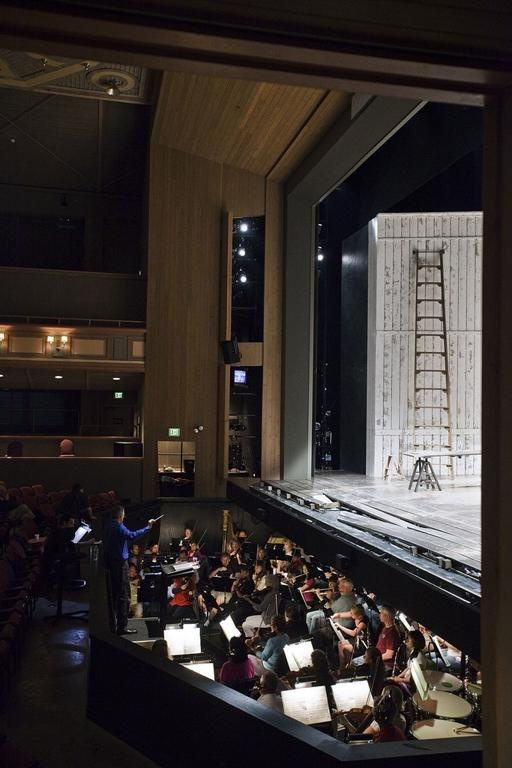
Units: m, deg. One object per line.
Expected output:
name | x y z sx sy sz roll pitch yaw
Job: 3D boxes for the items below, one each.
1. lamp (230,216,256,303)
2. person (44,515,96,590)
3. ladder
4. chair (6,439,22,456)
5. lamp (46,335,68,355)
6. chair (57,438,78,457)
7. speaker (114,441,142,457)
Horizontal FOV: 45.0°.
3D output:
lamp | -0.201 -2.062 10.420 0.418 1.102 0.111 4 -2 -4
person | -1.979 1.763 6.521 0.471 0.774 0.325 2 -9 -40
ladder | 2.642 -0.440 9.269 0.753 3.565 1.294 3 -2 15
chair | -4.048 1.055 10.417 0.224 0.356 0.241 3 3 -23
lamp | -3.283 -0.663 10.184 0.247 0.285 0.141 1 8 -4
chair | -3.257 1.100 10.697 0.284 0.464 0.334 0 4 -5
speaker | -2.161 1.077 10.353 0.404 0.225 0.765 6 -2 -30
